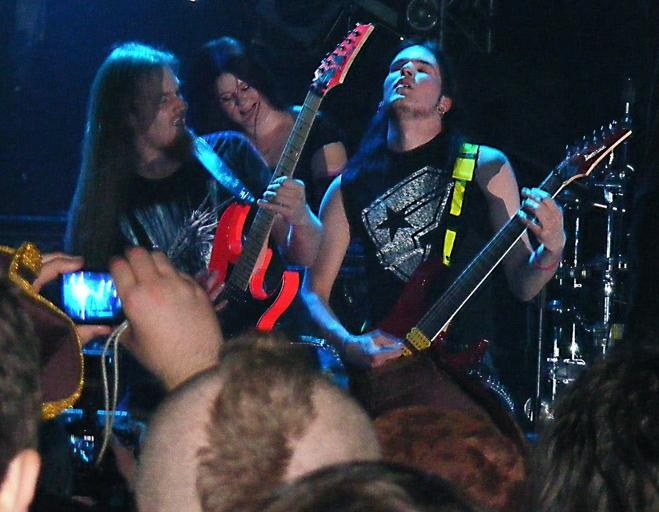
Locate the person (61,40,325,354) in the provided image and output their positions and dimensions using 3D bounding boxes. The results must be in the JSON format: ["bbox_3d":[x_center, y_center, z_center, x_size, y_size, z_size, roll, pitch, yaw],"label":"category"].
[{"bbox_3d":[-0.513,-0.251,3.137,1.510,0.652,0.228,10,-3,-11],"label":"person"}]

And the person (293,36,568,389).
[{"bbox_3d":[0.350,-0.275,3.433,0.810,1.730,0.204,-10,-24,29],"label":"person"}]

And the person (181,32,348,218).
[{"bbox_3d":[-0.311,-0.626,3.832,1.173,0.486,0.239,27,19,-24],"label":"person"}]
